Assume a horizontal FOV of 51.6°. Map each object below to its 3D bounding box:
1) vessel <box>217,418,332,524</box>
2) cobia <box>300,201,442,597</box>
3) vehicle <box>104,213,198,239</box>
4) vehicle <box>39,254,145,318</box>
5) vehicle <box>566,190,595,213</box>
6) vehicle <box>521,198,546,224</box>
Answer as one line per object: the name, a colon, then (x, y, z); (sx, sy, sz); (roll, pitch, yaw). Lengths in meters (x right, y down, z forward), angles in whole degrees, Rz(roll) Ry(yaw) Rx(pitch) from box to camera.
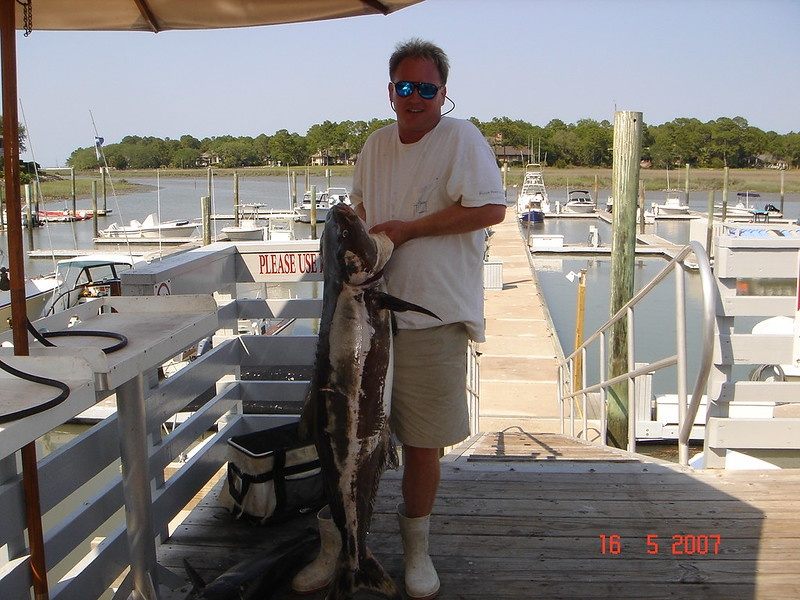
vessel: (-0.617, 0.931, 4.624); (0.631, 0.429, 0.373); (-12, 20, -35)
cobia: (-0.184, 0.443, 3.593); (0.482, 1.701, 0.297); (-1, 8, -7)
vehicle: (-10.169, -2.983, 33.551); (2.784, 0.960, 4.360); (2, 8, 9)
vehicle: (-3.985, -0.221, 10.476); (0.813, 0.702, 1.414); (2, 24, 2)
vehicle: (10.955, -5.916, 49.860); (1.042, 1.197, 3.287); (-1, 9, 9)
vehicle: (7.110, -4.638, 43.343); (1.277, 1.114, 4.682); (-1, 8, 7)
